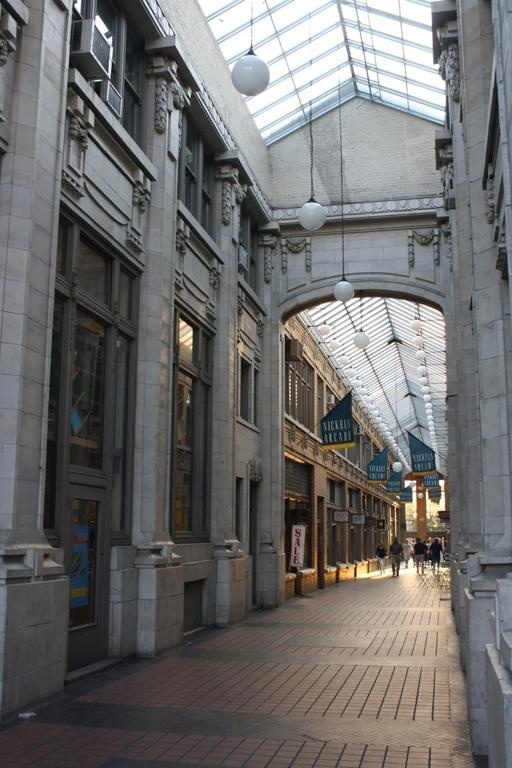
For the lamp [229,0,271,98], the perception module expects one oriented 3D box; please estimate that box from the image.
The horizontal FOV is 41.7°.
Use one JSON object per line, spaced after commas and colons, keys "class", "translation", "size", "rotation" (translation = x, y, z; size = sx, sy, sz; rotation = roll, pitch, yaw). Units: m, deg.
{"class": "lamp", "translation": [-0.063, -3.500, 7.403], "size": [0.385, 0.763, 0.494], "rotation": [1, -11, -3]}
